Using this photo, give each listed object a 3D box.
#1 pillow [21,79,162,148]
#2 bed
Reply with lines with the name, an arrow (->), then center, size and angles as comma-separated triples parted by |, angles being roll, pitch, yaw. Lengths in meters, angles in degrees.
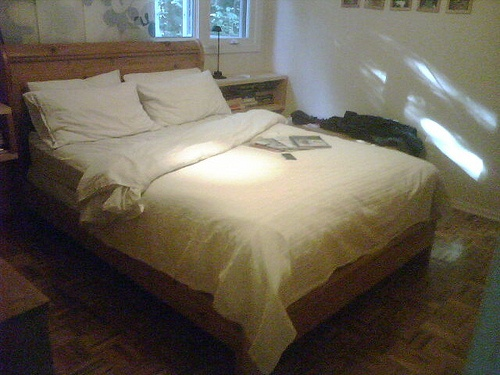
pillow -> -0.963, -0.501, 2.455 | 0.378, 0.247, 0.770 | 33, 37, 26
bed -> -0.358, 0.149, 2.352 | 1.868, 1.041, 2.087 | -24, 38, -39
